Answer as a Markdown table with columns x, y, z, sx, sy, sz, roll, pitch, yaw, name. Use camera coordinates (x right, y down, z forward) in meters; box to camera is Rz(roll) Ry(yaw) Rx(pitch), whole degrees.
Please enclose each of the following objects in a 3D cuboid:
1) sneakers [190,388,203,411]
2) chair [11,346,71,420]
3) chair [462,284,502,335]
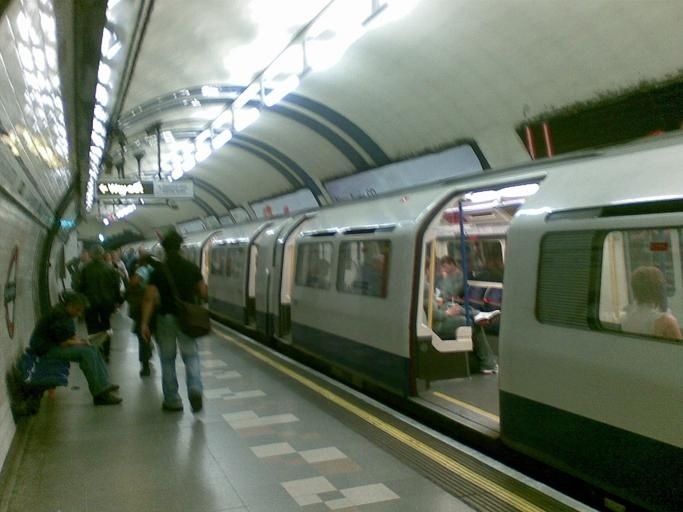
| x | y | z | sx | sy | sz | roll | pitch | yaw | name |
| --- | --- | --- | --- | --- | --- | --- | --- | --- | --- |
| -1.705 | 1.662 | 5.324 | 0.099 | 0.304 | 0.125 | -6 | 21 | -23 | sneakers |
| -3.696 | 1.516 | 5.585 | 0.300 | 0.354 | 0.757 | -7 | 13 | -16 | chair |
| 2.756 | 1.028 | 8.942 | 0.386 | 0.517 | 1.321 | -2 | 1 | -9 | chair |
